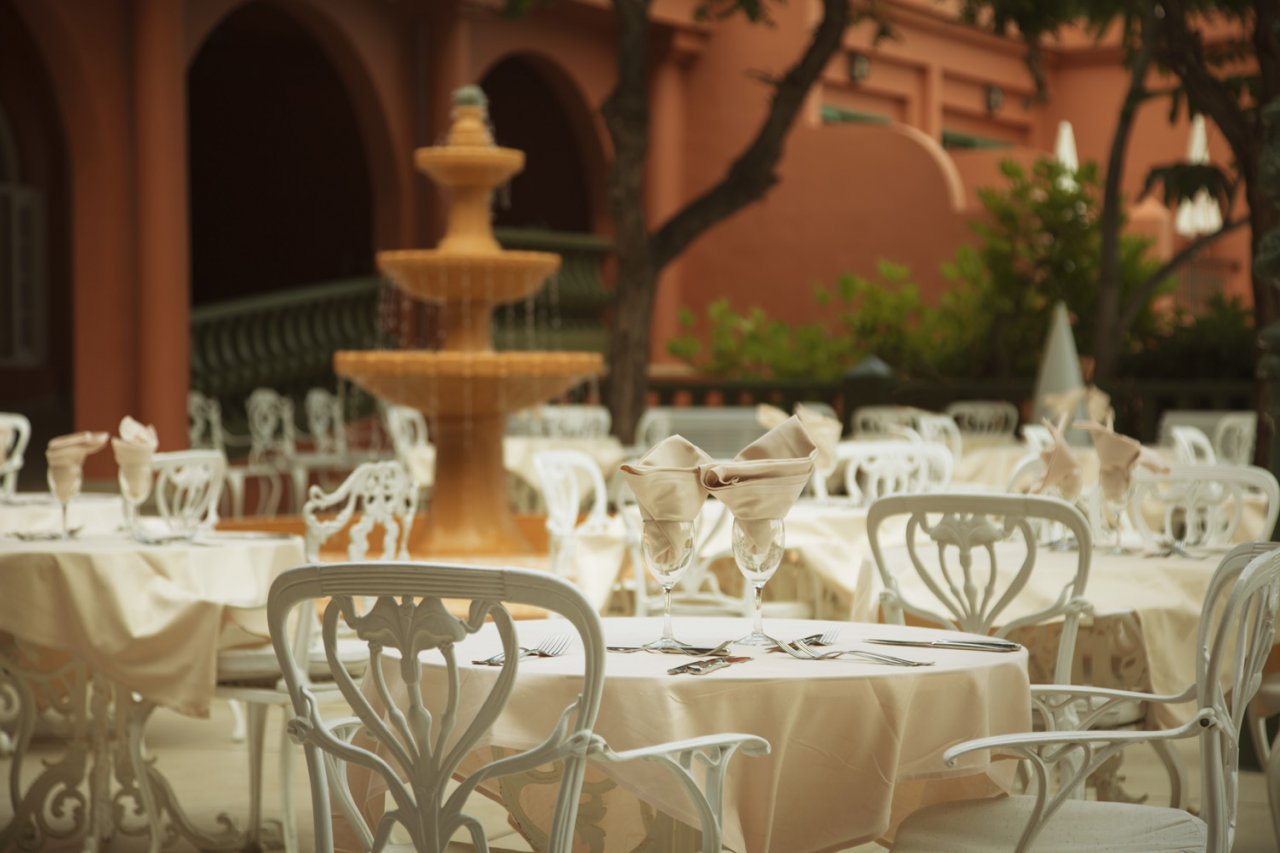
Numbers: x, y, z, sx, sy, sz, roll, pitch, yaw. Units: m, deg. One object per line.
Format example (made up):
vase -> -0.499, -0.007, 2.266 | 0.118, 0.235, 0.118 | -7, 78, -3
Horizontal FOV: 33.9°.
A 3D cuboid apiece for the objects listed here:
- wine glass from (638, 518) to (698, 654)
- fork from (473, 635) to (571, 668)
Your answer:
wine glass -> 0.108, 0.543, 7.309 | 0.187, 0.446, 0.349 | -1, -2, 1
fork -> -0.397, 0.764, 7.076 | 0.252, 0.044, 0.067 | -12, 36, -29
